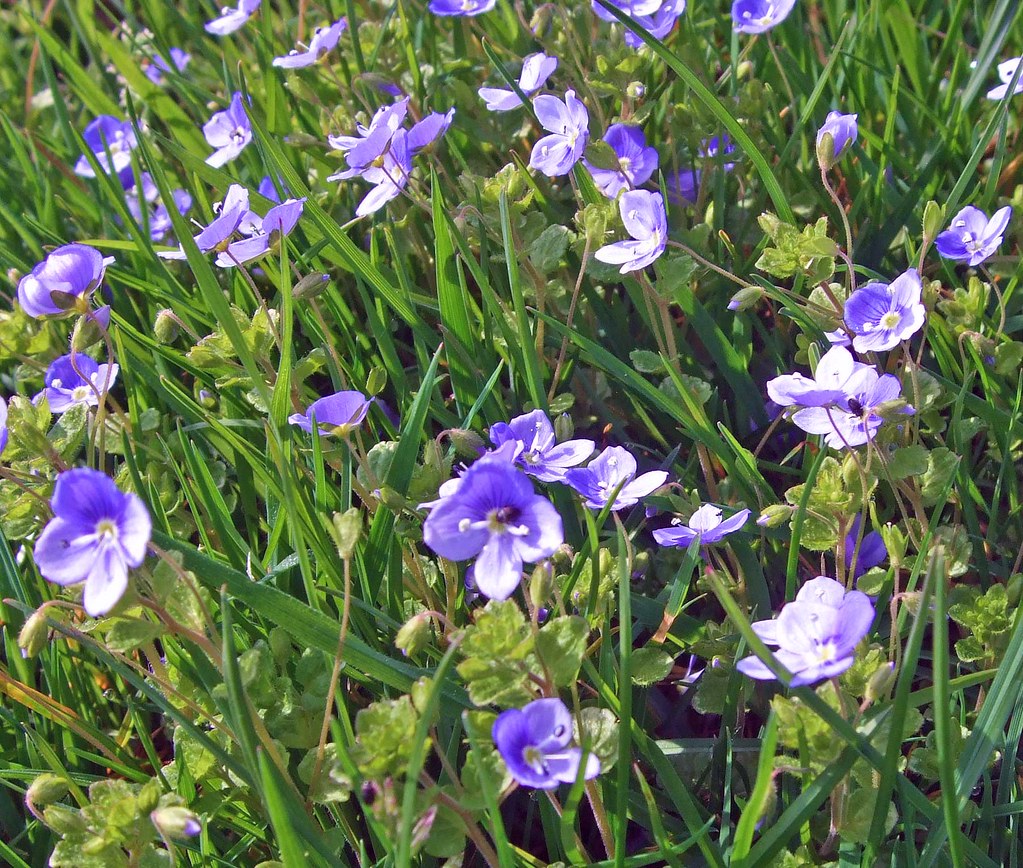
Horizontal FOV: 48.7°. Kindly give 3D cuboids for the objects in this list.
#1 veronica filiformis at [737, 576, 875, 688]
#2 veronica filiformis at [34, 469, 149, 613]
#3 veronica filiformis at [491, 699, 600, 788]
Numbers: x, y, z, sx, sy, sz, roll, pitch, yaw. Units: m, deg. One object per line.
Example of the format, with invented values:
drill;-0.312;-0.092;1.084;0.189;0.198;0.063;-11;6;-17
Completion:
veronica filiformis;0.356;0.228;1.330;0.130;0.058;0.162;-25;41;35
veronica filiformis;-0.461;0.094;1.279;0.115;0.060;0.139;-24;49;-28
veronica filiformis;0.034;0.365;1.339;0.129;0.174;0.069;5;66;25
